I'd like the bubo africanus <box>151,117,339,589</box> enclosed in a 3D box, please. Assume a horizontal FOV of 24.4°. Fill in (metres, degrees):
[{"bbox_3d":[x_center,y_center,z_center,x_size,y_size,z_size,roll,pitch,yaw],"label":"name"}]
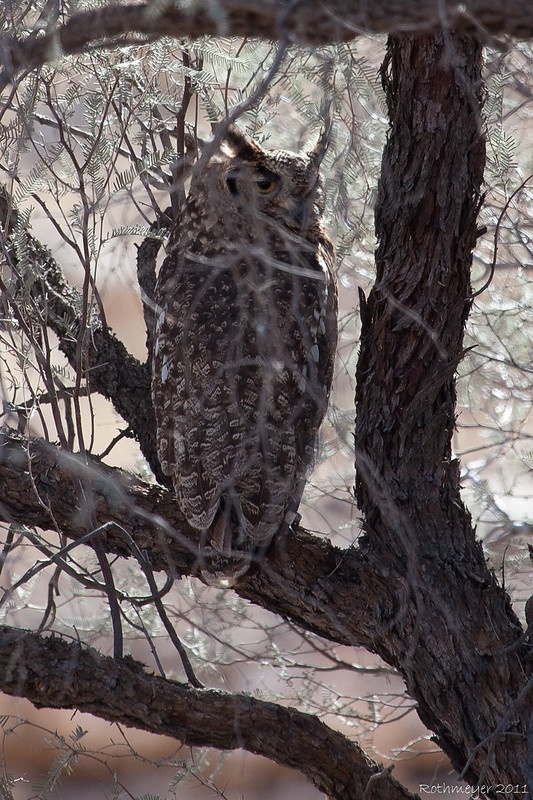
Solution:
[{"bbox_3d":[-0.093,-0.166,4.043,0.597,0.986,1.321,5,-57,8],"label":"bubo africanus"}]
